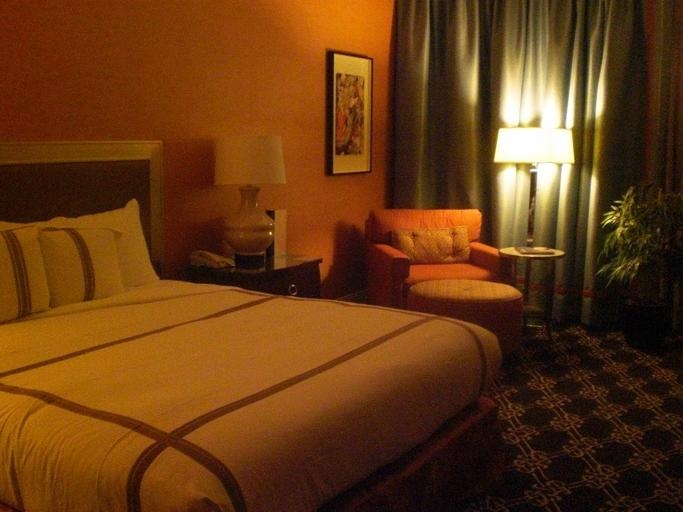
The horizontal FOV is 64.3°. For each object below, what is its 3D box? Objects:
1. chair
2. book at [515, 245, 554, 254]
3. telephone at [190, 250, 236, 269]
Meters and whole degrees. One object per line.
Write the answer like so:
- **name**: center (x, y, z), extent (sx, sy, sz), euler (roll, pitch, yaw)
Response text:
- **chair**: center (0.784, -0.074, 4.926), extent (1.163, 1.158, 0.840), euler (0, -1, -12)
- **book**: center (1.594, -0.046, 4.498), extent (0.296, 0.014, 0.283), euler (1, 14, 10)
- **telephone**: center (-0.947, 0.025, 3.977), extent (0.182, 0.078, 0.191), euler (8, 5, 21)
